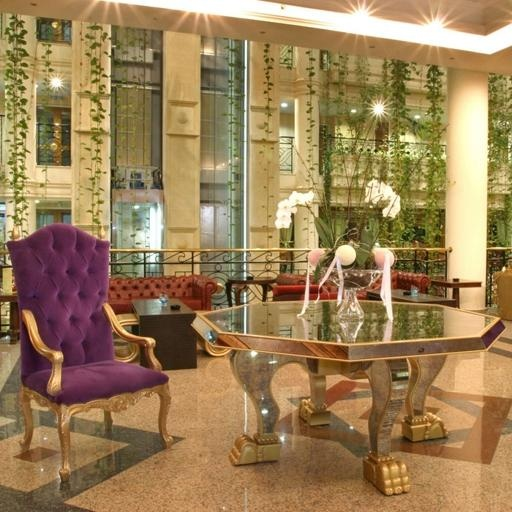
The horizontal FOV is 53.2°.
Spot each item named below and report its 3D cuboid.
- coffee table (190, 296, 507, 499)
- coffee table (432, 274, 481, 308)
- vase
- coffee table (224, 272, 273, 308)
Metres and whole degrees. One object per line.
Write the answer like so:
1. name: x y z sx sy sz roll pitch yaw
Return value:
1. coffee table: 0.420 0.565 2.517 1.107 0.501 1.123 4 9 37
2. coffee table: 2.632 0.422 6.776 0.559 0.492 0.532 0 1 -7
3. vase: 0.542 0.212 2.734 0.343 0.253 0.347 5 -7 33
4. coffee table: -0.073 0.396 6.335 0.494 0.477 0.458 0 1 -10
